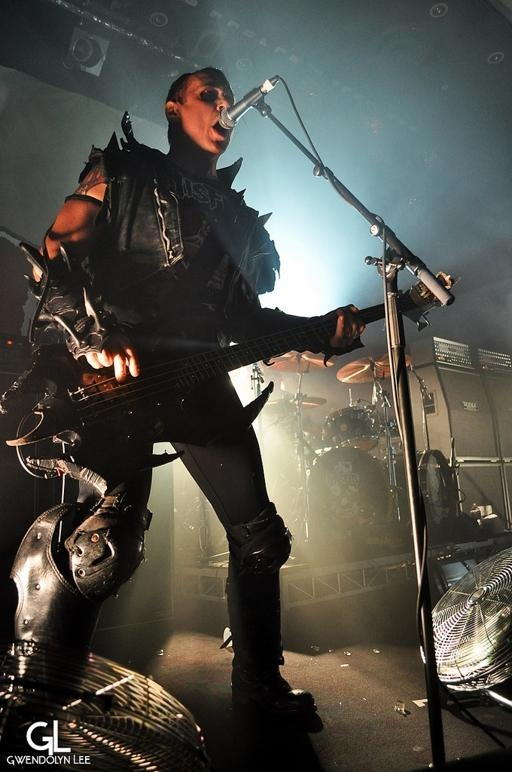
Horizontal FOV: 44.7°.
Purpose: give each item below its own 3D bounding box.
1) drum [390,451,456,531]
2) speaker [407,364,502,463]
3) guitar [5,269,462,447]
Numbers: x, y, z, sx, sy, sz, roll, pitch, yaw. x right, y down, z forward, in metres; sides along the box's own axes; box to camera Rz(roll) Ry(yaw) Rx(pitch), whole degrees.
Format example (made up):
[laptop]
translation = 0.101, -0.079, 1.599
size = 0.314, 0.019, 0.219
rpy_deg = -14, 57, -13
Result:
[drum]
translation = 1.445, 0.862, 5.286
size = 0.497, 0.624, 0.541
rpy_deg = -1, -8, 0
[speaker]
translation = 1.785, 0.272, 5.678
size = 0.690, 0.905, 0.480
rpy_deg = 18, -31, -41
[guitar]
translation = 0.077, -0.151, 2.556
size = 2.190, 0.559, 0.233
rpy_deg = -22, 1, -33
